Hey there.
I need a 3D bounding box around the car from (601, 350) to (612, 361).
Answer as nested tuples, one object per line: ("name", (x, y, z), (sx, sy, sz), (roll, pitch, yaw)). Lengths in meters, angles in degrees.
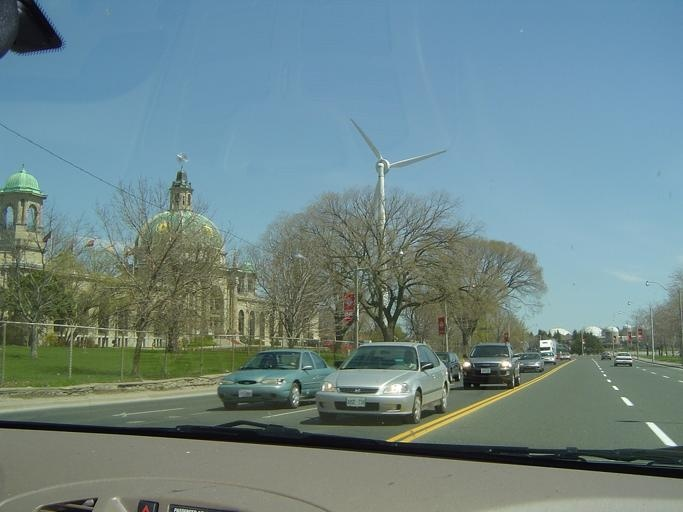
("car", (28.218, 10.802, 86.887), (1.183, 0.941, 2.687), (-1, -5, 15))
